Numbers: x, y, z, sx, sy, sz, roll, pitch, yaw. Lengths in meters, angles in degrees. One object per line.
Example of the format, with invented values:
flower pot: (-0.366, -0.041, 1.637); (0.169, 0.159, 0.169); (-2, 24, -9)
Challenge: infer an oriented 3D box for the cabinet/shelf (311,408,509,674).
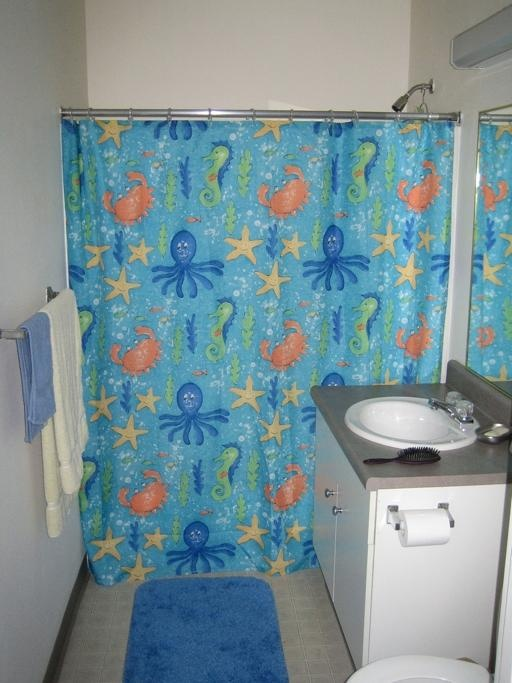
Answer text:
cabinet/shelf: (0.345, 0.510, 1.789); (0.510, 0.782, 0.915); (0, -2, -4)

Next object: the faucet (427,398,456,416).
faucet: (0.576, 0.198, 1.828); (0.026, 0.029, 0.102); (-8, 13, -13)

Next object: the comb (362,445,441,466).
comb: (0.369, 0.294, 1.556); (0.226, 0.055, 0.071); (-3, 10, -3)

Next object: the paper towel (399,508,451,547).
paper towel: (0.402, 0.442, 1.404); (0.108, 0.095, 0.088); (-1, -1, -7)
